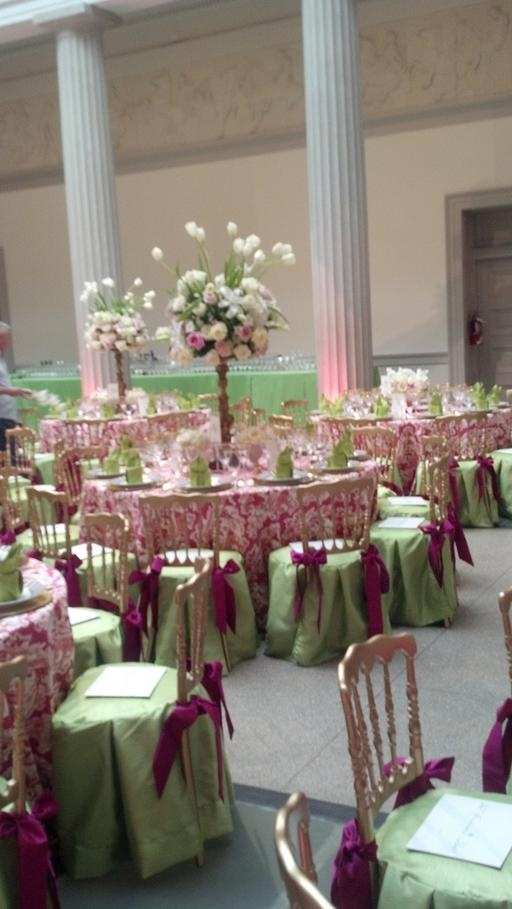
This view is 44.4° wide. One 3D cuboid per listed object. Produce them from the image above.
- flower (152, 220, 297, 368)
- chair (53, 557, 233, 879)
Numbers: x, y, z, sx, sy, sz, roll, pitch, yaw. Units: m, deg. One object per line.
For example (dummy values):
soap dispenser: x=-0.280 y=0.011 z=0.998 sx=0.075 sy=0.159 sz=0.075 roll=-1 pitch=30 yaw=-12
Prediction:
flower: x=-0.183 y=-0.986 z=3.744 sx=0.788 sy=0.905 sz=0.907 roll=-3 pitch=4 yaw=7
chair: x=-0.332 y=0.780 z=1.890 sx=0.485 sy=0.840 sz=0.488 roll=-3 pitch=4 yaw=-3
